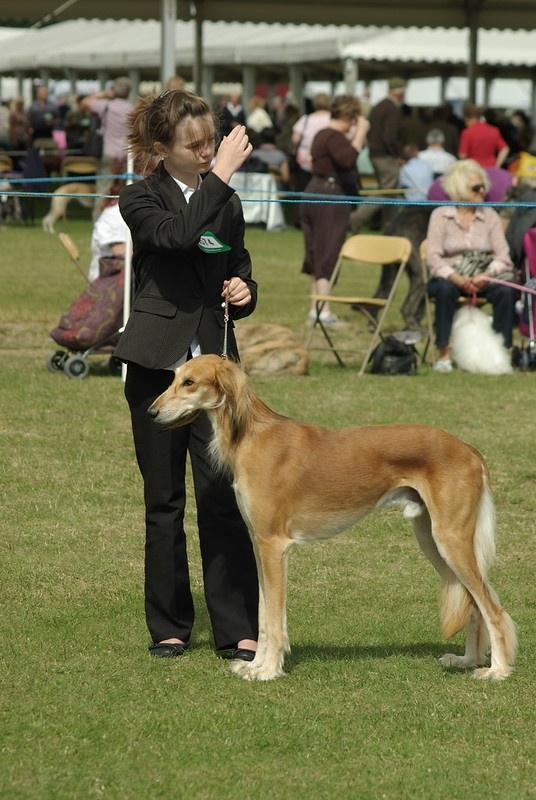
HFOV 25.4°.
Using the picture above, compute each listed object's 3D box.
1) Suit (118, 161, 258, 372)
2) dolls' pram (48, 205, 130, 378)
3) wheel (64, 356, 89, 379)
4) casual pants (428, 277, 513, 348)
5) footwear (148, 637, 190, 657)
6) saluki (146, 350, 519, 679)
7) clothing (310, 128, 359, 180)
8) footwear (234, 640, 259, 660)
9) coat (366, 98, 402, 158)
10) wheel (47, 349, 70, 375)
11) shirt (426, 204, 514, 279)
[{"bbox_3d":[-0.300,-0.476,4.244,0.466,0.715,0.475,0,13,5],"label":"Suit"},{"bbox_3d":[-1.266,-0.809,9.082,0.643,1.245,0.690,11,11,30],"label":"dolls' pram"},{"bbox_3d":[-1.485,-0.249,9.125,0.205,0.186,0.139,5,10,-22],"label":"wheel"},{"bbox_3d":[1.643,-0.739,9.554,0.589,0.481,0.603,1,10,1],"label":"casual pants"},{"bbox_3d":[-0.377,0.921,4.412,0.107,0.032,0.059,6,-3,1],"label":"footwear"},{"bbox_3d":[0.235,0.438,4.191,1.308,1.051,0.420,3,-3,-6],"label":"saluki"},{"bbox_3d":[0.594,-2.456,11.759,0.433,0.578,0.647,-4,2,-21],"label":"clothing"},{"bbox_3d":[-0.086,0.914,4.358,0.075,0.070,0.057,22,-8,-29],"label":"footwear"},{"bbox_3d":[1.564,-3.637,15.842,0.477,0.829,0.854,-3,19,-10],"label":"coat"},{"bbox_3d":[-1.651,-0.295,9.261,0.066,0.166,0.171,-4,-20,37],"label":"wheel"},{"bbox_3d":[1.590,-1.310,9.741,0.907,0.839,0.550,-1,6,-2],"label":"shirt"}]
